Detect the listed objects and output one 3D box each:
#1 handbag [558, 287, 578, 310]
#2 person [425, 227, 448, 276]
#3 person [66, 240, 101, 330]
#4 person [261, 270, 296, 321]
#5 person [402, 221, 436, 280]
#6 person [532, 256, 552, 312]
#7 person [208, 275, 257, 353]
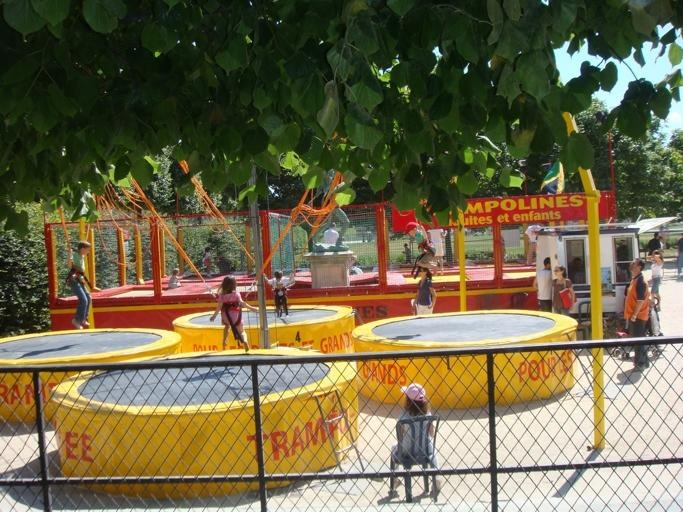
[{"bbox_3d":[4.037,0.718,16.274,0.332,0.385,0.088,-20,7,-37],"label":"handbag"},{"bbox_3d":[1.993,-0.121,19.033,0.793,1.027,0.280,-2,1,-5],"label":"person"},{"bbox_3d":[-5.480,0.639,19.117,0.459,1.744,1.059,3,33,-6],"label":"person"},{"bbox_3d":[-1.181,0.755,16.902,0.707,0.361,1.317,3,-41,0],"label":"person"},{"bbox_3d":[1.453,-0.118,17.465,0.328,0.874,0.870,-4,-14,13],"label":"person"},{"bbox_3d":[3.901,0.541,17.436,0.338,0.840,0.864,-3,1,12],"label":"person"},{"bbox_3d":[-1.894,1.046,15.757,0.830,1.725,0.483,5,21,15],"label":"person"}]
